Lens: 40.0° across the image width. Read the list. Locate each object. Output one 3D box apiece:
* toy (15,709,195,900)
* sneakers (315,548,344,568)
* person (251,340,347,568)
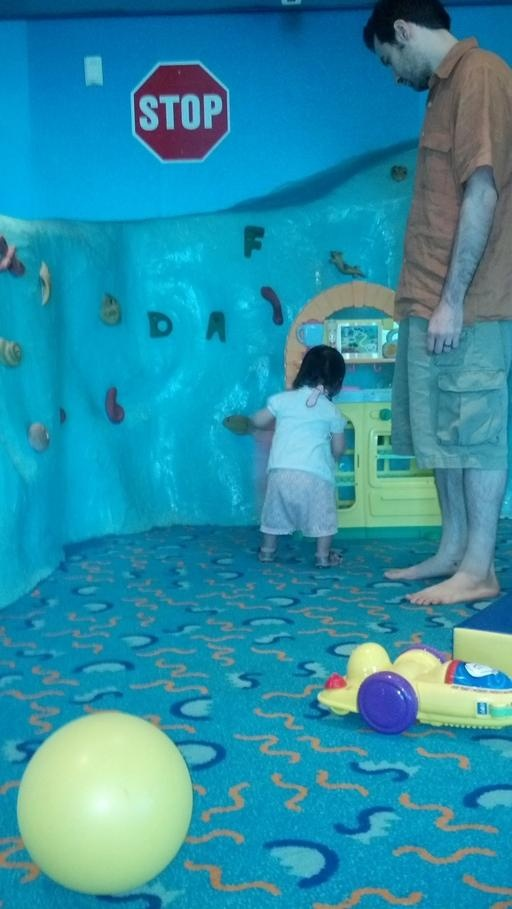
[{"bbox_3d":[-0.156,0.370,0.745,0.180,0.145,0.140,-7,10,-22],"label":"toy"},{"bbox_3d":[0.269,0.379,2.628,0.043,0.054,0.121,4,11,25],"label":"sneakers"},{"bbox_3d":[0.159,-0.012,2.741,0.378,0.786,0.493,-2,9,7],"label":"person"}]
